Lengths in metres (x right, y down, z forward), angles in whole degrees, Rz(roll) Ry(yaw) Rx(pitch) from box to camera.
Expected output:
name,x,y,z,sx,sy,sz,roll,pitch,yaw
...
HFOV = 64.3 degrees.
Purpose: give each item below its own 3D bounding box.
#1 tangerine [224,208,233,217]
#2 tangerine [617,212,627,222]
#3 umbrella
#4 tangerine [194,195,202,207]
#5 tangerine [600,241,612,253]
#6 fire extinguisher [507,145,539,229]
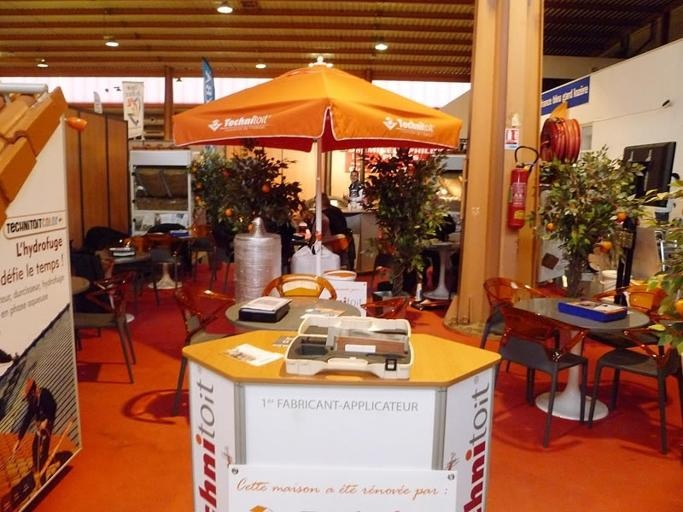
name,x,y,z,sx,sy,sz,roll,pitch,yaw
tangerine,-1.373,-0.532,6.614,0.102,0.087,0.095,13,21,17
tangerine,2.585,-0.353,4.982,0.089,0.090,0.085,4,12,27
umbrella,-0.427,-1.103,5.531,2.510,1.345,2.287,-3,14,-23
tangerine,-2.624,-1.001,9.974,0.154,0.140,0.162,-8,-15,35
tangerine,2.491,-0.084,5.177,0.124,0.103,0.113,-6,-3,28
fire extinguisher,2.058,-0.772,6.213,0.240,0.968,0.371,8,13,36
